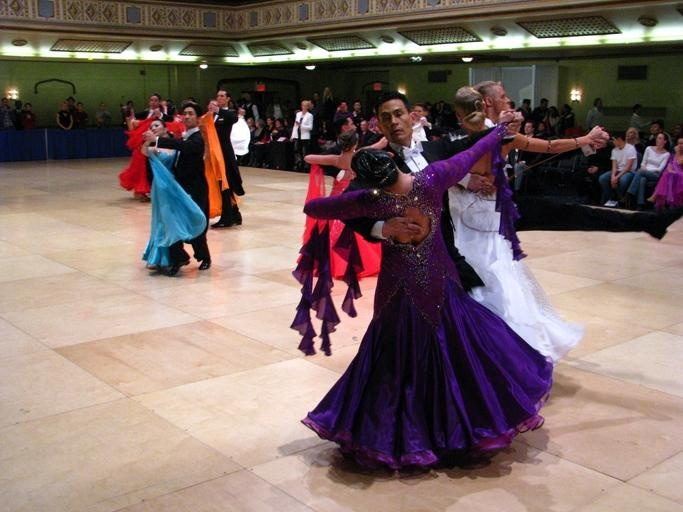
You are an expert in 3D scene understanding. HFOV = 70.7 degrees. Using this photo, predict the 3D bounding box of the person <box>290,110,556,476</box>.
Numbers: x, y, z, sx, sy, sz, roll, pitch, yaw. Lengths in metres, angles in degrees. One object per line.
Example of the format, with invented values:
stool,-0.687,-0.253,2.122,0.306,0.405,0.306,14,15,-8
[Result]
person,0.440,0.276,2.446,1.300,1.734,0.595,-4,16,-13

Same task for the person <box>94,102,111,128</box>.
person,-10.701,-6.294,21.511,0.653,1.091,0.593,-7,17,-22

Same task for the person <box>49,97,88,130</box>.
person,-11.656,-6.094,20.491,1.117,1.430,1.442,0,14,1

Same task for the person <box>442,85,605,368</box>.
person,1.264,-0.277,3.418,1.222,1.609,0.986,-11,8,10

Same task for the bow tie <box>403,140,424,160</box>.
bow tie,0.380,-0.563,2.563,0.119,0.038,0.109,-20,39,-20
